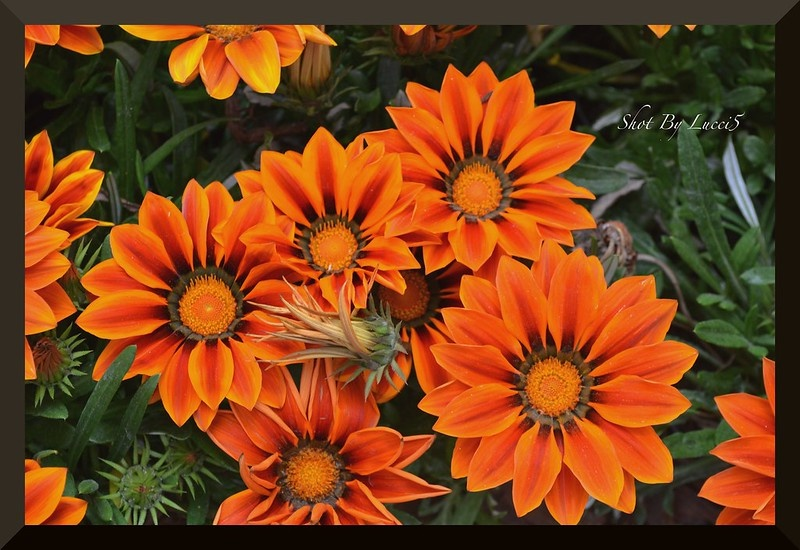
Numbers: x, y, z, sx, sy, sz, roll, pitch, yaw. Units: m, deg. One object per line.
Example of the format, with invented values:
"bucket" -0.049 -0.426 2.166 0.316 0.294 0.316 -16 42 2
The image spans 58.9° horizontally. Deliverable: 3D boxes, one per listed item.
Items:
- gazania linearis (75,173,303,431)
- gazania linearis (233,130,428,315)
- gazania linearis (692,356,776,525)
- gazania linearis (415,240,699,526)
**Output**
"gazania linearis" -0.316 0.059 1.218 0.108 0.448 0.456 -23 5 31
"gazania linearis" -0.113 -0.092 1.182 0.300 0.250 0.216 -9 32 -12
"gazania linearis" 0.597 0.293 1.241 0.125 0.254 0.161 6 32 14
"gazania linearis" 0.261 0.177 1.174 0.459 0.370 0.231 -2 31 1
